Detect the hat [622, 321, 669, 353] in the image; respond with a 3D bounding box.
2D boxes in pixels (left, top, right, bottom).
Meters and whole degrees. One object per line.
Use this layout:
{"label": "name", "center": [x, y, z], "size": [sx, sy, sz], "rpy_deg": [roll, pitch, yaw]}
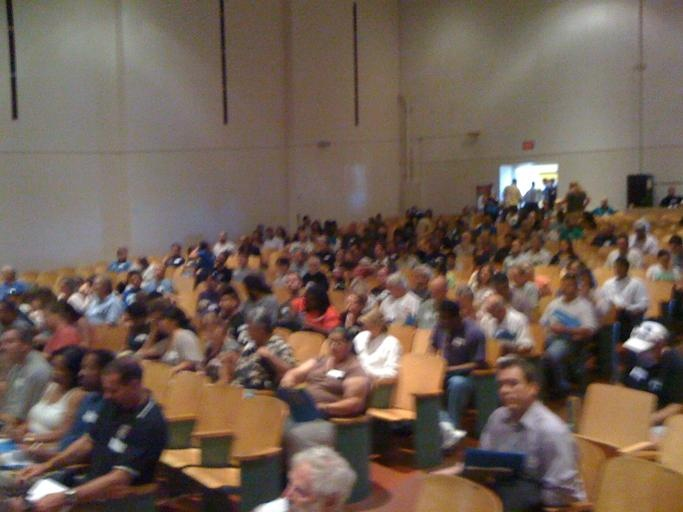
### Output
{"label": "hat", "center": [2.054, 0.574, 3.630], "size": [0.256, 0.146, 0.172], "rpy_deg": [-6, 19, -36]}
